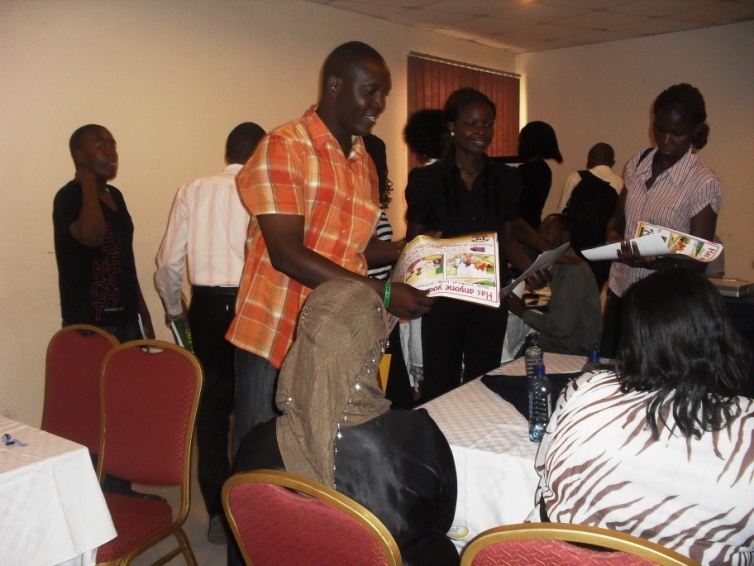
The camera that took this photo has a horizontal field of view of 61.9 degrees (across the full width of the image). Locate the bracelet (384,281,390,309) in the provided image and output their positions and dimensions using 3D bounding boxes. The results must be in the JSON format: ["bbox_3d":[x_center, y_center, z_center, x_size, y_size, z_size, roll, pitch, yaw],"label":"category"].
[{"bbox_3d":[0.029,0.031,1.813,0.019,0.051,0.046,4,-8,5],"label":"bracelet"}]

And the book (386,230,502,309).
[{"bbox_3d":[0.247,-0.076,2.042,0.400,0.094,0.428,14,23,30],"label":"book"}]

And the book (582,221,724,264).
[{"bbox_3d":[1.092,-0.141,2.407,0.307,0.119,0.262,-4,-1,-9],"label":"book"}]

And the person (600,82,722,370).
[{"bbox_3d":[1.342,0.009,3.100,0.428,1.793,0.655,8,28,24],"label":"person"}]
